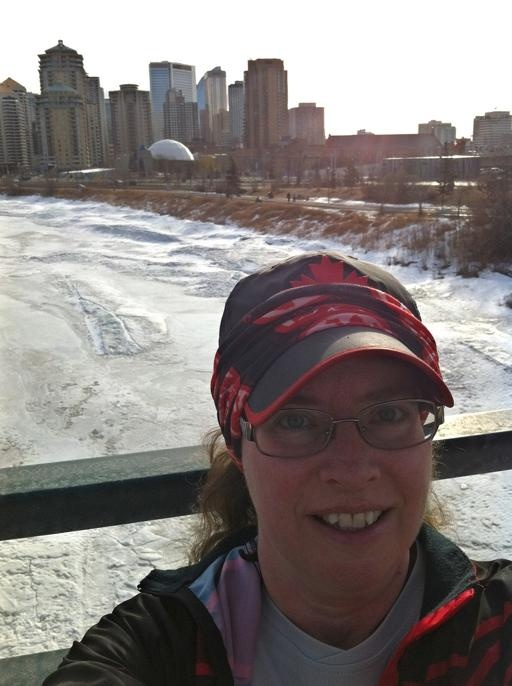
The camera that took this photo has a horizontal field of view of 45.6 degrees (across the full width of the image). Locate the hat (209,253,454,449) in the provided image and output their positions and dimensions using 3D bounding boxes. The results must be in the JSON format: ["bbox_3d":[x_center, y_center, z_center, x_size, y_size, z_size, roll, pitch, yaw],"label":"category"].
[{"bbox_3d":[0.081,0.019,0.882,0.259,0.178,0.335,1,-9,-10],"label":"hat"}]
